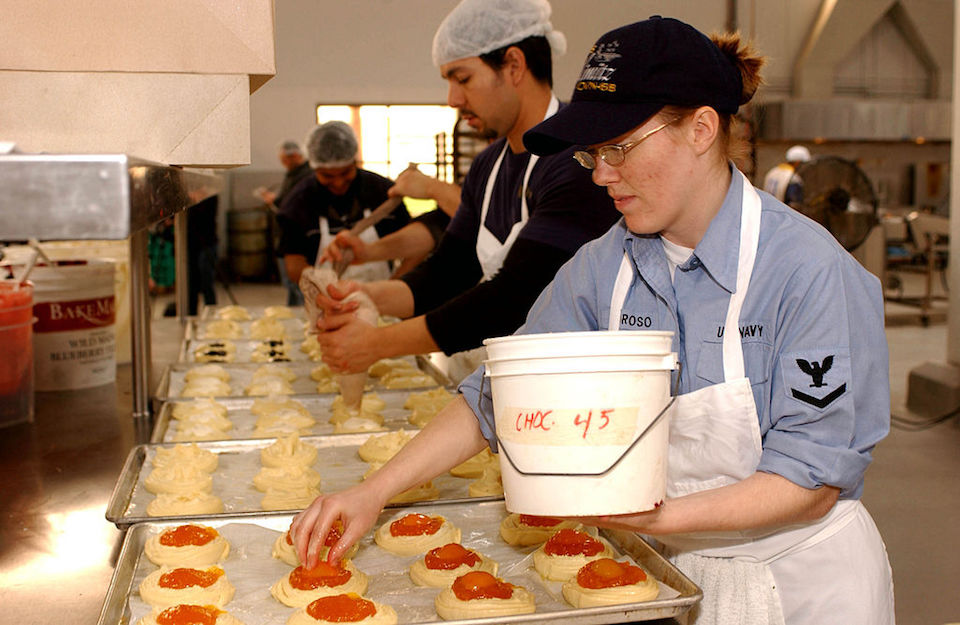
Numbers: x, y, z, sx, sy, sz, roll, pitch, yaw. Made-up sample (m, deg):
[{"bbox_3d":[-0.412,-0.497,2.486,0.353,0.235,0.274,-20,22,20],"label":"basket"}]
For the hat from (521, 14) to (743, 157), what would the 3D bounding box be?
[{"bbox_3d":[0.399,-0.561,1.985,0.604,0.308,0.358,-8,11,-13],"label":"hat"}]

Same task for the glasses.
[{"bbox_3d":[0.336,-0.376,1.880,0.169,0.044,0.131,-27,-4,3],"label":"glasses"}]

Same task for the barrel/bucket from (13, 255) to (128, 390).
[{"bbox_3d":[-1.476,0.034,3.262,0.454,0.490,0.452,0,9,0],"label":"barrel/bucket"}]

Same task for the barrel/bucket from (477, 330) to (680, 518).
[{"bbox_3d":[0.234,0.245,1.829,0.451,0.359,0.438,-2,-5,0],"label":"barrel/bucket"}]
